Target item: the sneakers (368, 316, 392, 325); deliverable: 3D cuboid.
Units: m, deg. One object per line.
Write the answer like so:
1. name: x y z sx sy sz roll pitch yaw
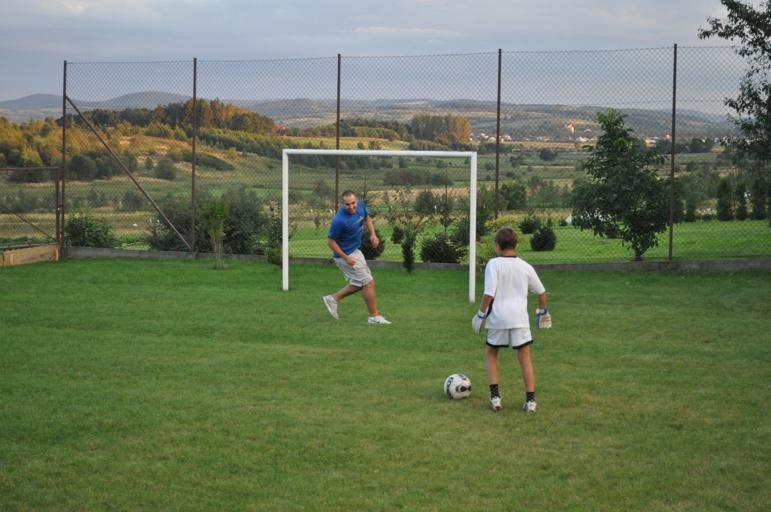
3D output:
1. sneakers: -0.096 1.002 12.705 0.356 0.139 0.130 2 -3 3

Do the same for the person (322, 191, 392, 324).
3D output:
1. person: -0.516 0.005 12.998 0.954 2.065 1.057 -1 5 -5

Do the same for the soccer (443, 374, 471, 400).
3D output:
1. soccer: 0.891 1.572 9.989 0.290 0.288 0.287 18 29 -2

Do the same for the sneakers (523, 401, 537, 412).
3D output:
1. sneakers: 1.711 1.769 9.625 0.172 0.134 0.149 -1 5 1

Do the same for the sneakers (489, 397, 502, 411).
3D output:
1. sneakers: 1.305 1.752 9.644 0.156 0.155 0.115 -2 8 -31

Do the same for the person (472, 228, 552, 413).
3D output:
1. person: 1.481 0.746 9.699 0.862 2.159 0.439 0 5 7
